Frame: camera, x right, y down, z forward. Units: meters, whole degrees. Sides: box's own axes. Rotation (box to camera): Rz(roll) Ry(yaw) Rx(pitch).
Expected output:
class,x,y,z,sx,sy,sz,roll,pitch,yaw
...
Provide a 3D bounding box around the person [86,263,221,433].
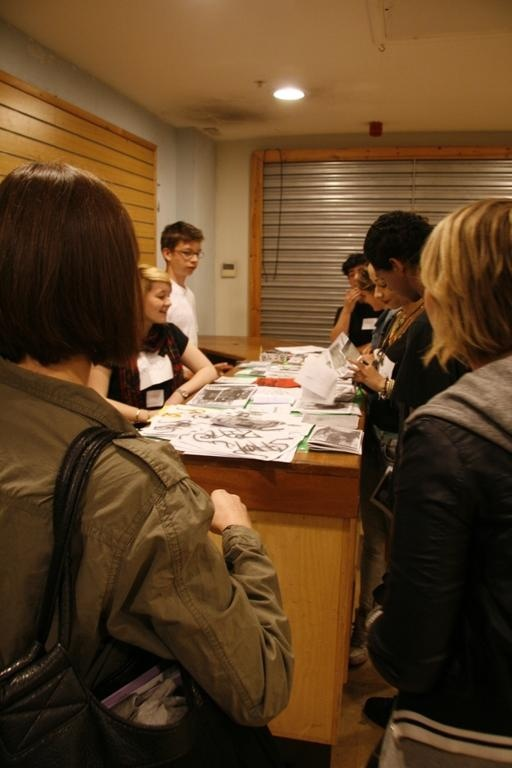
class,x,y,z,sx,sy,sz,roll,pitch,yaw
person,-0.490,-0.087,2.581,0.548,0.906,0.475,-5,11,-40

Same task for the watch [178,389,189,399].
class,x,y,z,sx,sy,sz,roll,pitch,yaw
watch,-0.352,0.047,2.668,0.045,0.043,0.030,31,16,-13

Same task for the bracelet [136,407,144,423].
class,x,y,z,sx,sy,sz,roll,pitch,yaw
bracelet,-0.472,0.132,2.210,0.032,0.051,0.046,3,6,8

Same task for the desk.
class,x,y,z,sx,sy,sz,roll,pitch,yaw
desk,0.095,0.477,1.985,0.626,1.103,1.177,3,15,10
